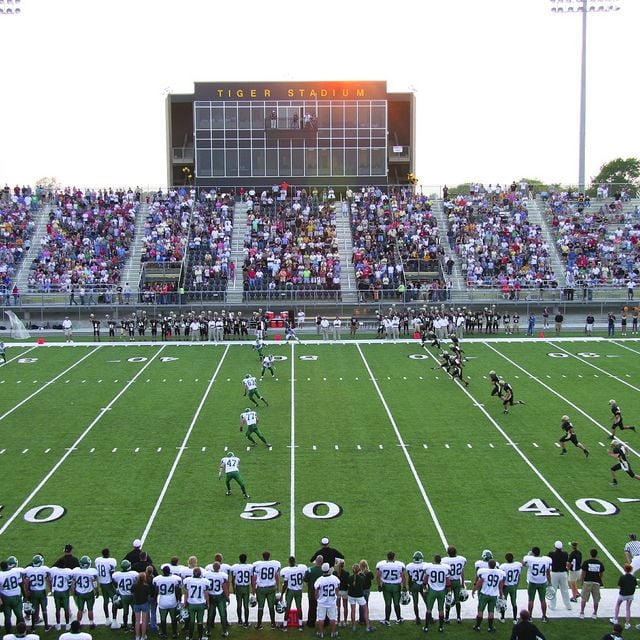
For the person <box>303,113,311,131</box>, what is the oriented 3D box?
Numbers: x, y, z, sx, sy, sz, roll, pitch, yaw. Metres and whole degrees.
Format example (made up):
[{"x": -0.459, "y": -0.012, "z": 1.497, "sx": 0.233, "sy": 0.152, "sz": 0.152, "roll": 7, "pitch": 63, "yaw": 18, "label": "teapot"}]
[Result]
[{"x": -0.633, "y": -10.286, "z": 56.020, "sx": 0.367, "sy": 0.817, "sz": 0.179, "roll": -1, "pitch": -7, "yaw": -2, "label": "person"}]

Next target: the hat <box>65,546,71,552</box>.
[{"x": -3.875, "y": 3.492, "z": 16.742, "sx": 0.061, "sy": 0.111, "sz": 0.099, "roll": 3, "pitch": 11, "yaw": -3, "label": "hat"}]

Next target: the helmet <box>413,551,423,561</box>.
[{"x": 1.499, "y": 3.518, "z": 16.570, "sx": 0.126, "sy": 0.191, "sz": 0.156, "roll": 6, "pitch": -22, "yaw": 4, "label": "helmet"}]

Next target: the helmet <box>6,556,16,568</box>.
[{"x": -4.639, "y": 3.627, "z": 16.400, "sx": 0.135, "sy": 0.152, "sz": 0.307, "roll": 1, "pitch": -9, "yaw": -20, "label": "helmet"}]

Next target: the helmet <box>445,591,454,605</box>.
[{"x": 2.019, "y": 4.217, "z": 16.690, "sx": 0.115, "sy": 0.194, "sz": 0.341, "roll": -4, "pitch": -8, "yaw": 15, "label": "helmet"}]

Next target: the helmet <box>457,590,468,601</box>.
[{"x": 2.206, "y": 4.180, "z": 16.682, "sx": 0.108, "sy": 0.197, "sz": 0.213, "roll": -3, "pitch": -8, "yaw": 7, "label": "helmet"}]

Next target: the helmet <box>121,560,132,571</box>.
[{"x": -2.915, "y": 3.663, "z": 16.370, "sx": 0.106, "sy": 0.169, "sz": 0.152, "roll": 2, "pitch": -21, "yaw": -10, "label": "helmet"}]

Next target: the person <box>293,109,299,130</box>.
[{"x": -1.240, "y": -10.311, "z": 56.010, "sx": 0.300, "sy": 0.842, "sz": 0.231, "roll": -1, "pitch": -7, "yaw": -2, "label": "person"}]

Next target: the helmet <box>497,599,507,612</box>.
[{"x": 2.802, "y": 4.343, "z": 16.701, "sx": 0.121, "sy": 0.158, "sz": 0.226, "roll": 2, "pitch": -4, "yaw": -3, "label": "helmet"}]

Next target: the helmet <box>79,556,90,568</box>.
[{"x": -3.596, "y": 3.663, "z": 16.648, "sx": 0.112, "sy": 0.182, "sz": 0.157, "roll": 6, "pitch": 3, "yaw": -4, "label": "helmet"}]

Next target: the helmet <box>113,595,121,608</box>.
[{"x": -3.082, "y": 4.252, "z": 16.597, "sx": 0.090, "sy": 0.201, "sz": 0.361, "roll": 1, "pitch": -8, "yaw": -18, "label": "helmet"}]
